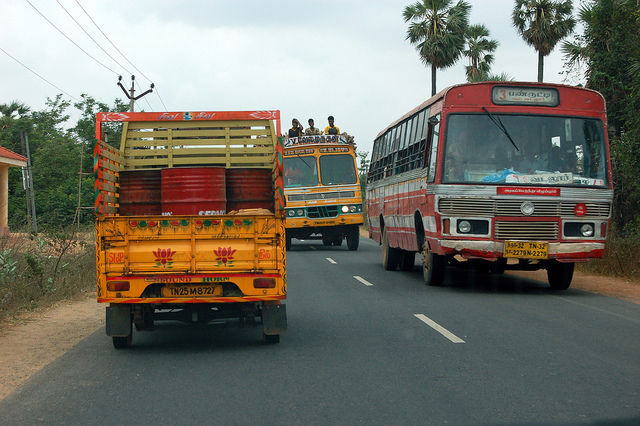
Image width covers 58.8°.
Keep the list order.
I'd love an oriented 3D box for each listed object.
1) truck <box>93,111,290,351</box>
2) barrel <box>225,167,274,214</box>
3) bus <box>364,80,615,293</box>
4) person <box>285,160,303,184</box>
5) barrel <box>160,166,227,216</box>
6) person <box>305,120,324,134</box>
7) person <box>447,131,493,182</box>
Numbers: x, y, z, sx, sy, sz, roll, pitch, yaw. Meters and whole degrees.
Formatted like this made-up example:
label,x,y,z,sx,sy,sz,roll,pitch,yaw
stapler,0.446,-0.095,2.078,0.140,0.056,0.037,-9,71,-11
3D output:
label,x,y,z,sx,sy,sz,roll,pitch,yaw
truck,-2.416,0.440,11.181,3.459,3.475,5.470,-1,-2,-5
barrel,-1.400,-0.430,11.536,0.904,0.959,0.895,-1,0,0
bus,3.540,-0.602,14.093,3.311,4.964,5.852,-3,4,-36
person,-1.089,-1.798,24.565,0.954,1.268,0.696,-4,-3,-2
barrel,-2.282,-0.414,10.312,1.128,0.842,0.496,-2,3,-15
person,-0.350,-3.853,25.468,0.617,0.701,0.979,-2,3,-19
person,3.391,-1.227,12.741,1.068,1.550,0.532,0,-22,-3
